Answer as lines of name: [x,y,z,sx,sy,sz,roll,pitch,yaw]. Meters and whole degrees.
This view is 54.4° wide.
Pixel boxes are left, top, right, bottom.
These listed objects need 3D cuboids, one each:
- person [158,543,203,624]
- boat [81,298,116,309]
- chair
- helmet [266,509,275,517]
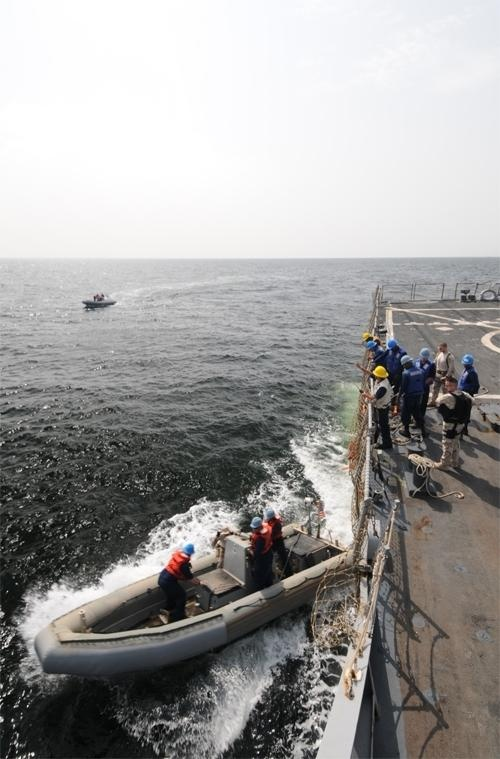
person: [-1.364,4.157,9.710,0.911,1.737,0.703,-11,34,-29]
boat: [-19.035,-9.526,61.619,3.240,1.289,1.916,-16,30,-42]
chair: [-0.456,3.974,9.751,1.118,1.363,0.839,4,3,-35]
helmet: [0.412,2.662,9.557,0.124,0.105,0.135,-10,9,16]
